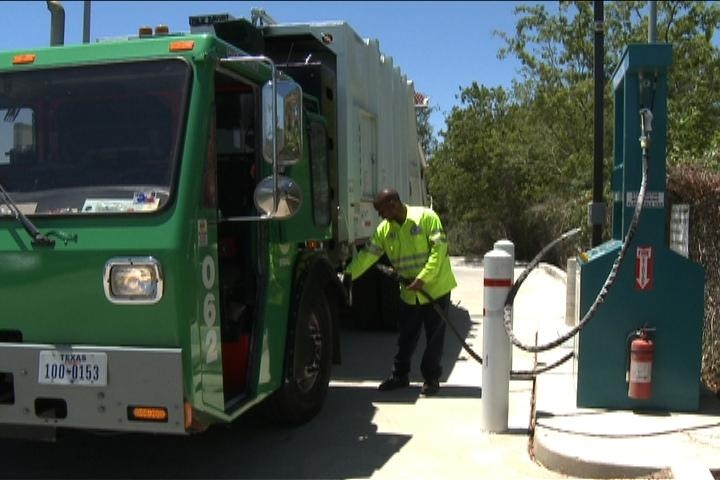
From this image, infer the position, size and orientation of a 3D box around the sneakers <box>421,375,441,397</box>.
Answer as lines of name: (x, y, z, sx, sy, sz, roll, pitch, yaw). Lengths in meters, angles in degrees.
sneakers: (0.814, 1.676, 8.019, 0.211, 0.253, 0.143, 1, -4, -5)

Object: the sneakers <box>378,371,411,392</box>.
sneakers: (0.382, 1.656, 8.212, 0.407, 0.215, 0.159, 1, -2, -19)

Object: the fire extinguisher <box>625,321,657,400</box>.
fire extinguisher: (2.764, 1.225, 6.869, 0.253, 0.731, 0.351, 0, 6, 24)
